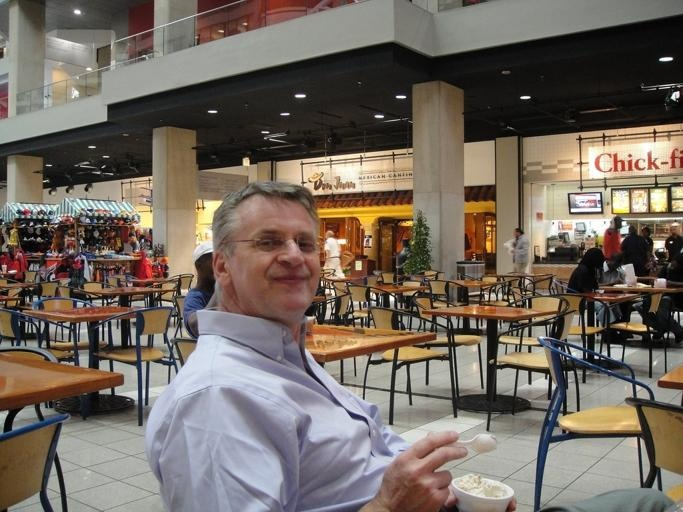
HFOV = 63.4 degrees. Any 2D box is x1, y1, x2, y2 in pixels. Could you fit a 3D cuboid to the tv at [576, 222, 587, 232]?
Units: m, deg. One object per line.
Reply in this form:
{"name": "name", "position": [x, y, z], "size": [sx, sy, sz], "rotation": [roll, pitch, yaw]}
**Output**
{"name": "tv", "position": [7.162, -0.888, 16.664], "size": [0.419, 0.322, 0.295], "rotation": [3, 4, 31]}

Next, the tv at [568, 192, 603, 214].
{"name": "tv", "position": [7.240, -1.595, 16.357], "size": [0.811, 0.455, 0.105], "rotation": [6, 16, 39]}

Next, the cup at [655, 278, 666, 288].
{"name": "cup", "position": [4.487, 0.383, 7.866], "size": [0.175, 0.107, 0.226], "rotation": [3, -2, 24]}

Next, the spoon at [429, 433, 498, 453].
{"name": "spoon", "position": [0.316, 0.487, 1.429], "size": [0.167, 0.052, 0.053], "rotation": [4, 25, -6]}

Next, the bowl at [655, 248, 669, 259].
{"name": "bowl", "position": [8.542, -0.049, 14.801], "size": [0.416, 0.243, 0.393], "rotation": [0, -2, 0]}

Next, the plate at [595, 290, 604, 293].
{"name": "plate", "position": [3.504, 0.479, 7.532], "size": [0.068, 0.036, 0.058], "rotation": [-1, 1, 25]}
